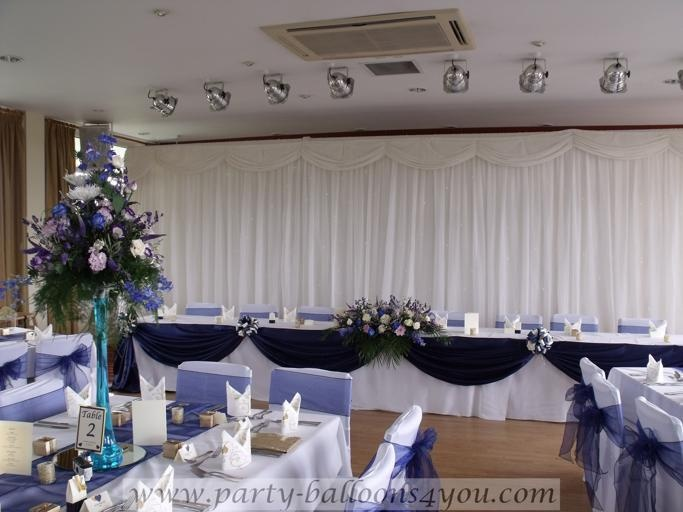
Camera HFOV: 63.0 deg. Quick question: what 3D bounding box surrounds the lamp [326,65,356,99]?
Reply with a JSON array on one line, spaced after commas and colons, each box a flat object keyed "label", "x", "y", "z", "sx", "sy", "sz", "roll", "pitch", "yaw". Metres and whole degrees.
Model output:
[{"label": "lamp", "x": -0.005, "y": -2.046, "z": 6.566, "sx": 0.308, "sy": 0.357, "sz": 0.298, "roll": -8, "pitch": 38, "yaw": -6}]

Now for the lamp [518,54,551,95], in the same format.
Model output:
[{"label": "lamp", "x": 2.115, "y": -2.022, "z": 6.152, "sx": 0.307, "sy": 0.427, "sz": 0.280, "roll": -2, "pitch": 24, "yaw": 4}]

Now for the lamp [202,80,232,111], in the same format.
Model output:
[{"label": "lamp", "x": -1.601, "y": -2.043, "z": 7.165, "sx": 0.335, "sy": 0.336, "sz": 0.476, "roll": 0, "pitch": -3, "yaw": -14}]

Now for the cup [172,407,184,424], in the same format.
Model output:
[{"label": "cup", "x": -1.036, "y": 1.023, "z": 3.564, "sx": 0.072, "sy": 0.155, "sz": 0.081, "roll": 0, "pitch": -10, "yaw": -2}]

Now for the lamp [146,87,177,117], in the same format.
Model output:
[{"label": "lamp", "x": -2.364, "y": -2.043, "z": 7.411, "sx": 0.374, "sy": 0.405, "sz": 0.212, "roll": 26, "pitch": -8, "yaw": -26}]

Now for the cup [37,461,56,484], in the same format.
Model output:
[{"label": "cup", "x": -1.497, "y": 1.100, "z": 2.854, "sx": 0.087, "sy": 0.114, "sz": 0.094, "roll": 0, "pitch": -8, "yaw": 0}]

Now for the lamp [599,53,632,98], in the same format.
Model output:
[{"label": "lamp", "x": 2.944, "y": -1.977, "z": 5.980, "sx": 0.271, "sy": 0.389, "sz": 0.309, "roll": -3, "pitch": 38, "yaw": 12}]

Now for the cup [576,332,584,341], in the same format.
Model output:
[{"label": "cup", "x": 2.657, "y": 0.896, "z": 6.221, "sx": 0.080, "sy": 0.096, "sz": 0.076, "roll": 3, "pitch": -10, "yaw": 0}]

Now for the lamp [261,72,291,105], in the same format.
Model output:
[{"label": "lamp", "x": -0.815, "y": -2.043, "z": 6.866, "sx": 0.316, "sy": 0.343, "sz": 0.359, "roll": 0, "pitch": -3, "yaw": -9}]

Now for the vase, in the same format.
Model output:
[{"label": "vase", "x": -1.318, "y": 0.603, "z": 3.046, "sx": 0.246, "sy": 1.174, "sz": 0.251, "roll": 4, "pitch": 20, "yaw": -28}]

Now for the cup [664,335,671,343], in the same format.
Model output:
[{"label": "cup", "x": 3.583, "y": 0.911, "z": 6.123, "sx": 0.088, "sy": 0.102, "sz": 0.093, "roll": 1, "pitch": -3, "yaw": 0}]

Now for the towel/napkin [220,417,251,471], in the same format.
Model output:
[{"label": "towel/napkin", "x": -0.563, "y": 1.037, "z": 3.151, "sx": 0.179, "sy": 0.271, "sz": 0.302, "roll": 5, "pitch": 4, "yaw": -6}]

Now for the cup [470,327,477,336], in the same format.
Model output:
[{"label": "cup", "x": 1.523, "y": 0.873, "z": 6.416, "sx": 0.064, "sy": 0.072, "sz": 0.069, "roll": 0, "pitch": -11, "yaw": 0}]

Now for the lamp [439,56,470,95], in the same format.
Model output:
[{"label": "lamp", "x": 1.305, "y": -2.026, "z": 6.317, "sx": 0.275, "sy": 0.345, "sz": 0.419, "roll": -1, "pitch": -3, "yaw": 12}]

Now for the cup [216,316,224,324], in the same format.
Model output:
[{"label": "cup", "x": -1.529, "y": 0.806, "z": 7.012, "sx": 0.089, "sy": 0.099, "sz": 0.067, "roll": 0, "pitch": -5, "yaw": 0}]

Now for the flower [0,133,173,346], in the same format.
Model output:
[{"label": "flower", "x": -1.322, "y": -0.031, "z": 3.335, "sx": 0.938, "sy": 1.473, "sz": 0.958, "roll": 0, "pitch": -4, "yaw": -6}]
